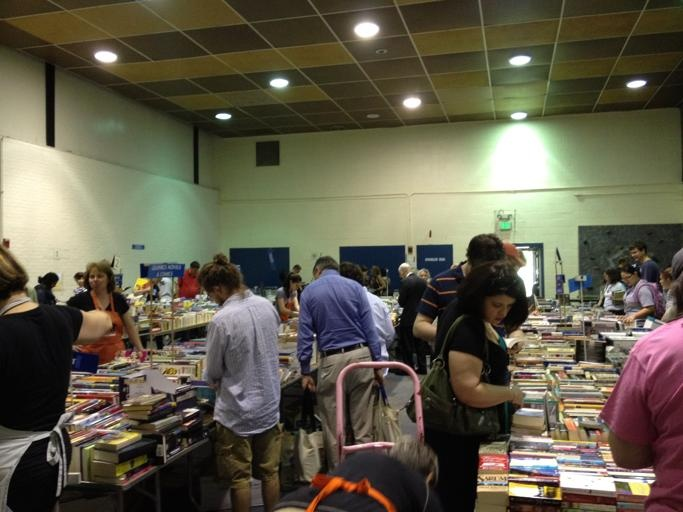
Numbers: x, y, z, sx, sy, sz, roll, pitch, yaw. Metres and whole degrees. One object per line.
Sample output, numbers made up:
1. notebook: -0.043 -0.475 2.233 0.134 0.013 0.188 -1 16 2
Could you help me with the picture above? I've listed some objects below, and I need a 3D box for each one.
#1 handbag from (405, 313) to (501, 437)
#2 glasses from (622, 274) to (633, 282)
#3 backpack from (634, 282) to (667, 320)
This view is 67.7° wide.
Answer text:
1. handbag: 0.540 0.539 2.321 0.347 0.544 0.111 -1 4 9
2. glasses: 3.846 0.290 6.811 0.107 0.048 0.082 4 -8 -2
3. backpack: 3.592 0.533 5.929 0.282 0.498 0.365 -11 -4 -2
